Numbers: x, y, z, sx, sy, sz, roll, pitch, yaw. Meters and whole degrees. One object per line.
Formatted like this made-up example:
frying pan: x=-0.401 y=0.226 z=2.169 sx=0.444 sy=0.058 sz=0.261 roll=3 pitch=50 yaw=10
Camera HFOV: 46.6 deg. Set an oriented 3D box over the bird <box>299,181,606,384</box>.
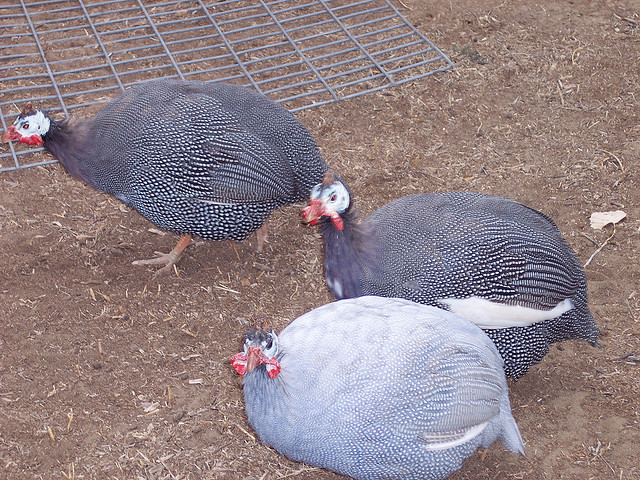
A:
bird: x=0.865 y=0.231 z=4.874 sx=2.064 sy=1.126 sz=1.214 roll=0 pitch=95 yaw=0
